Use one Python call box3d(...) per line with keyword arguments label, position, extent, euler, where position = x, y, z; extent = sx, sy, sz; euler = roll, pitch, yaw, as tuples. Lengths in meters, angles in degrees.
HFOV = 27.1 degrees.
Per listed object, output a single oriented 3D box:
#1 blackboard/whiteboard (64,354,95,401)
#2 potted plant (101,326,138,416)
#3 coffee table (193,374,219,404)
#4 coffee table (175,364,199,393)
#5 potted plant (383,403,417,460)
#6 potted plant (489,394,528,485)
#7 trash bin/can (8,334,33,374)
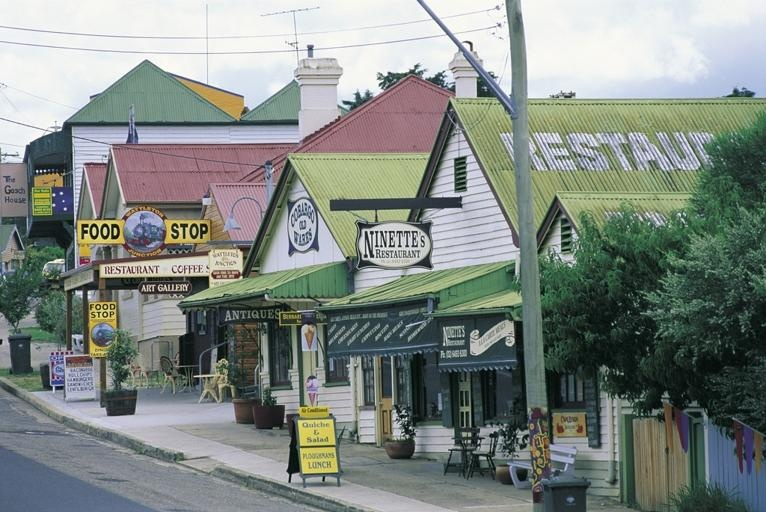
box3d(label="blackboard/whiteboard", position=(-9.781, 3.751, 51.641), extent=(1.033, 0.879, 1.532), euler=(-5, -55, -12))
box3d(label="potted plant", position=(-8.376, 3.399, 48.863), extent=(1.149, 2.815, 1.791), euler=(1, -2, 1))
box3d(label="coffee table", position=(-5.884, 4.375, 52.823), extent=(0.936, 0.960, 1.015), euler=(-1, -6, 5))
box3d(label="coffee table", position=(-7.064, 4.411, 57.672), extent=(0.977, 0.764, 1.031), euler=(0, -9, -2))
box3d(label="potted plant", position=(0.490, 4.784, 43.163), extent=(0.731, 1.481, 0.749), euler=(5, -1, -14))
box3d(label="potted plant", position=(3.236, 4.742, 40.610), extent=(1.249, 2.315, 0.877), euler=(3, 1, 5))
box3d(label="trash bin/can", position=(-13.356, 3.634, 58.989), extent=(0.807, 1.474, 1.427), euler=(1, -11, -13))
